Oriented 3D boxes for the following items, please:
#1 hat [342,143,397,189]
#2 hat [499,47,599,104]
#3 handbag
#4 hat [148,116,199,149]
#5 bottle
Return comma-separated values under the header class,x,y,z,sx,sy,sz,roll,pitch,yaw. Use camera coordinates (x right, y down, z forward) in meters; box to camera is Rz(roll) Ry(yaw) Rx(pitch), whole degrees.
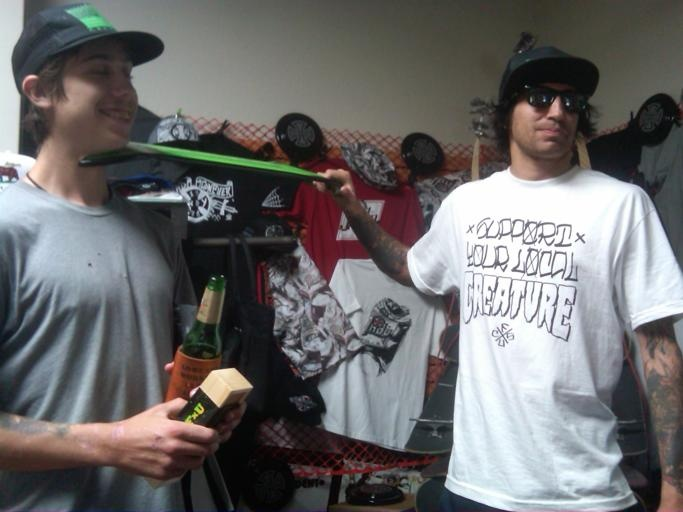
class,x,y,z,sx,sy,sz,roll,pitch,yaw
hat,0.166,-0.525,3.300,0.316,0.226,0.101,43,-38,-8
hat,0.679,-0.627,1.925,0.193,0.141,0.283,4,-11,10
handbag,-0.305,0.434,2.466,0.081,0.292,0.630,17,-11,16
hat,-0.782,-0.542,2.721,0.166,0.195,0.146,3,7,-3
bottle,-0.373,0.206,1.493,0.133,0.295,0.218,2,0,-13
